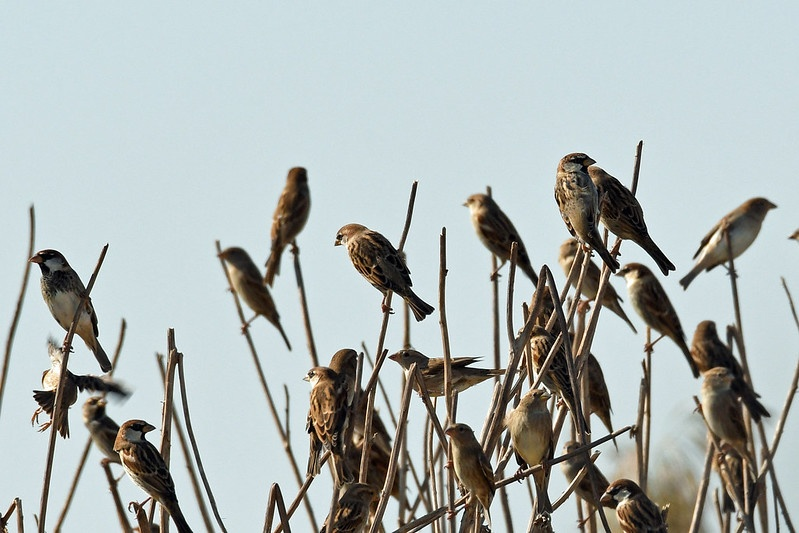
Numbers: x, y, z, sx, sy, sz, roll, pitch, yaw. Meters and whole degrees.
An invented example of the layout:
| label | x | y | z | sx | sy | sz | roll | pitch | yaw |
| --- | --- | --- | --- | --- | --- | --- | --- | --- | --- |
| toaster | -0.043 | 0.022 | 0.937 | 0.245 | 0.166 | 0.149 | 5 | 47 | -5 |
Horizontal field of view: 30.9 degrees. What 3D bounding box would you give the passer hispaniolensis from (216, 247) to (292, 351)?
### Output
| label | x | y | z | sx | sy | sz | roll | pitch | yaw |
| --- | --- | --- | --- | --- | --- | --- | --- | --- | --- |
| passer hispaniolensis | -1.766 | 0.186 | 17.448 | 0.529 | 1.291 | 0.852 | -2 | -25 | -18 |
